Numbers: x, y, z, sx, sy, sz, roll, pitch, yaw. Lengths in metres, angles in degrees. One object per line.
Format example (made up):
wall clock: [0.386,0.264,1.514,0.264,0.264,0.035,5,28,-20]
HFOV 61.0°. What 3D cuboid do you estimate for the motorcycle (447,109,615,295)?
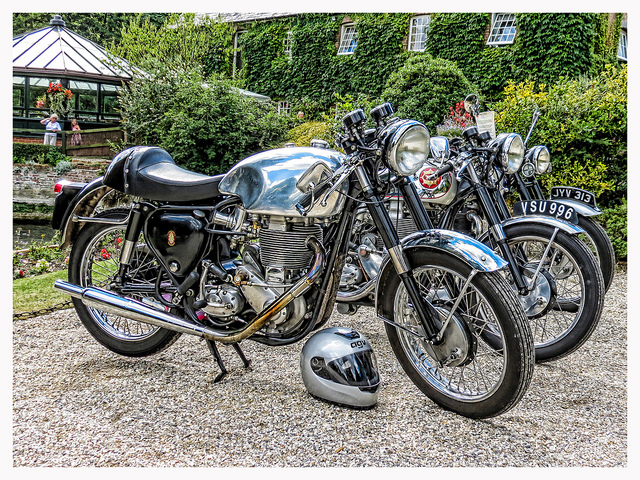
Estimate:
motorcycle: [1.980,-0.392,5.023,1.415,1.423,2.230,2,12,-5]

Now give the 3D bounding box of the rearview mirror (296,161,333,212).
rearview mirror: [-0.057,-0.334,3.385,0.155,0.294,0.062,39,8,16]

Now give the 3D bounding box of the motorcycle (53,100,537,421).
motorcycle: [-0.427,0.063,4.029,3.945,1.884,1.042,4,8,27]

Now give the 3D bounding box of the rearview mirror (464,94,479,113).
rearview mirror: [1.286,-1.153,4.611,0.145,0.150,0.056,8,6,16]
